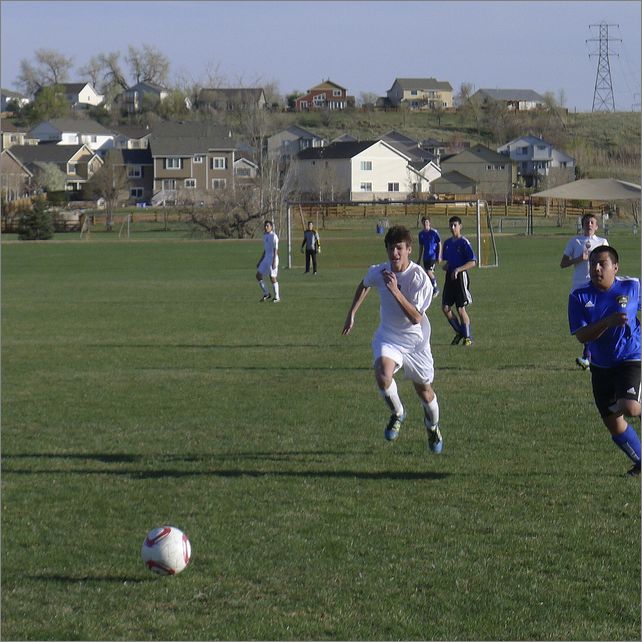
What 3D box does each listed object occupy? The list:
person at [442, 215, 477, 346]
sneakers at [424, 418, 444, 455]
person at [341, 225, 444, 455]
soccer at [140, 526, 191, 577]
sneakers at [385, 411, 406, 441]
[{"bbox_3d":[1.854,-0.537,18.692,0.401,1.683,0.881,-1,3,4],"label":"person"},{"bbox_3d":[1.101,1.065,13.150,0.102,0.408,0.241,-2,19,15],"label":"sneakers"},{"bbox_3d":[0.750,0.171,13.234,0.773,2.126,0.885,-2,3,-18],"label":"person"},{"bbox_3d":[-1.263,1.893,11.293,0.405,0.559,0.481,4,-14,-2],"label":"soccer"},{"bbox_3d":[0.714,0.911,13.239,0.099,0.380,0.147,9,-7,8],"label":"sneakers"}]
